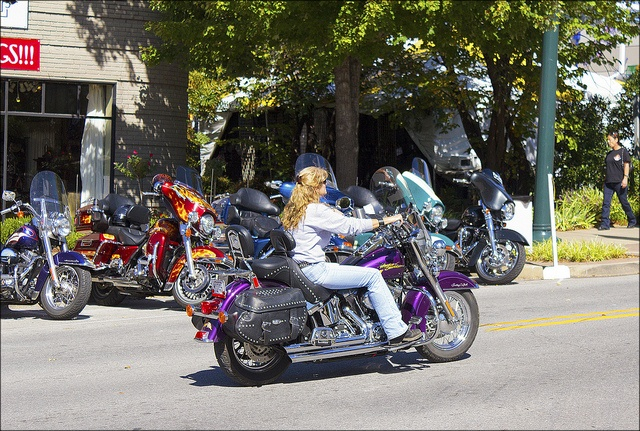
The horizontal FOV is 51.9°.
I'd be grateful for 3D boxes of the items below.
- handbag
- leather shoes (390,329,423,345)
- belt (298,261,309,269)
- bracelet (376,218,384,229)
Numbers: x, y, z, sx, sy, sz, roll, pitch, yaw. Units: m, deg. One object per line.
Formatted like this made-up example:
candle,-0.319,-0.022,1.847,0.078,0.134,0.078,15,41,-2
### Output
handbag,-0.656,1.242,8.091,0.987,0.596,0.643,-3,8,-18
leather shoes,1.100,1.554,8.600,0.448,0.195,0.166,-11,11,-28
belt,-0.224,0.634,8.380,0.145,0.082,0.070,-1,9,-3
bracelet,0.751,0.103,8.410,0.107,0.107,0.085,2,4,-6
